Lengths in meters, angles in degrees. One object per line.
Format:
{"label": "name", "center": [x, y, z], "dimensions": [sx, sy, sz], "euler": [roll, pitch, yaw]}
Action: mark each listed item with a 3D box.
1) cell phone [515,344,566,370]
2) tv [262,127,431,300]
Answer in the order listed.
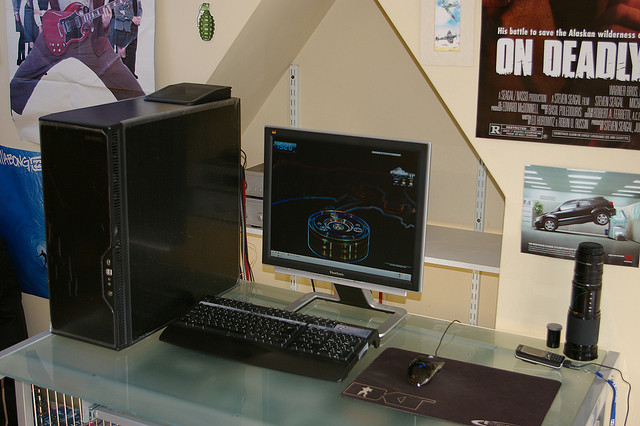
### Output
{"label": "cell phone", "center": [0.728, 0.466, 1.819], "dimensions": [0.109, 0.022, 0.066], "euler": [17, 22, 28]}
{"label": "tv", "center": [0.087, -0.002, 1.969], "dimensions": [0.643, 0.577, 0.060], "euler": [9, 13, 19]}
